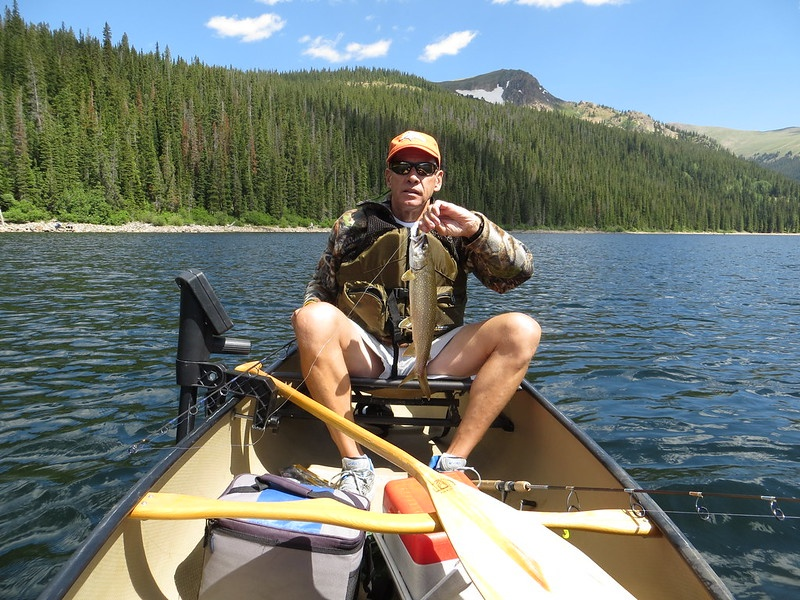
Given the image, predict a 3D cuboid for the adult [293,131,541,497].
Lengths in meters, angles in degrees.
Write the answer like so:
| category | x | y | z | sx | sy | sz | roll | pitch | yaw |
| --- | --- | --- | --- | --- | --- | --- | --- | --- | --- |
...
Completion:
| category | x | y | z | sx | sy | sz | roll | pitch | yaw |
| --- | --- | --- | --- | --- | --- | --- | --- | --- | --- |
| adult | 0.087 | 0.007 | 4.454 | 1.813 | 2.503 | 1.460 | 1 | -2 | 1 |
